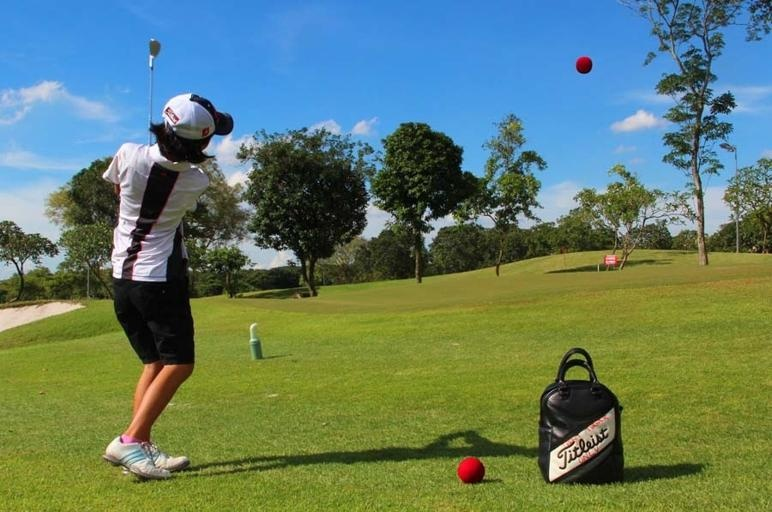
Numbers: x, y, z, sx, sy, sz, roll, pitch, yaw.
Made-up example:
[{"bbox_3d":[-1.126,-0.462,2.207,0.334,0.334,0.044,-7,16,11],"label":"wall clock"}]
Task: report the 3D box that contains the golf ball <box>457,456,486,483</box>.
[{"bbox_3d":[0.842,2.078,5.607,0.214,0.217,0.225,-1,-1,0],"label":"golf ball"}]
